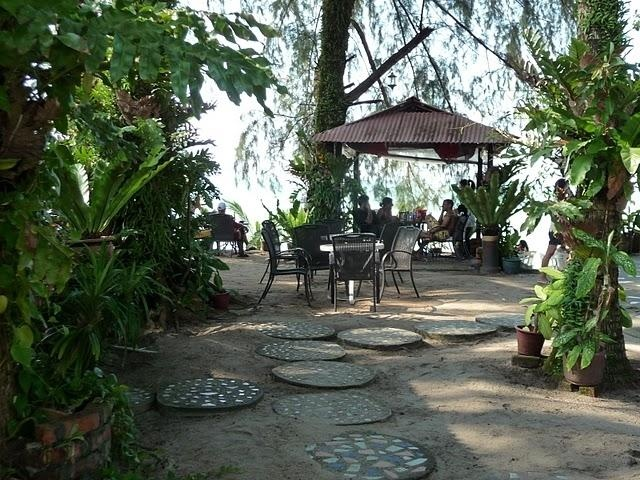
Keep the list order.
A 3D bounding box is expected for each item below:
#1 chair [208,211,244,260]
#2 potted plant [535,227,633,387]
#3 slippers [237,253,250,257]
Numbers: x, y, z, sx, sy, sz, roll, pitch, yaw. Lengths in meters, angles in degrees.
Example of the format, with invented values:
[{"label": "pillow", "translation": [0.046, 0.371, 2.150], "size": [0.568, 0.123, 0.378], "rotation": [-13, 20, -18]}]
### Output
[{"label": "chair", "translation": [-2.601, -0.159, 13.663], "size": [1.098, 1.274, 0.766], "rotation": [-2, 6, -33]}, {"label": "potted plant", "translation": [2.272, 0.554, 4.074], "size": [0.767, 1.289, 0.666], "rotation": [0, 5, -8]}, {"label": "slippers", "translation": [-2.195, 0.436, 13.880], "size": [0.309, 0.129, 0.108], "rotation": [0, 10, 8]}]
